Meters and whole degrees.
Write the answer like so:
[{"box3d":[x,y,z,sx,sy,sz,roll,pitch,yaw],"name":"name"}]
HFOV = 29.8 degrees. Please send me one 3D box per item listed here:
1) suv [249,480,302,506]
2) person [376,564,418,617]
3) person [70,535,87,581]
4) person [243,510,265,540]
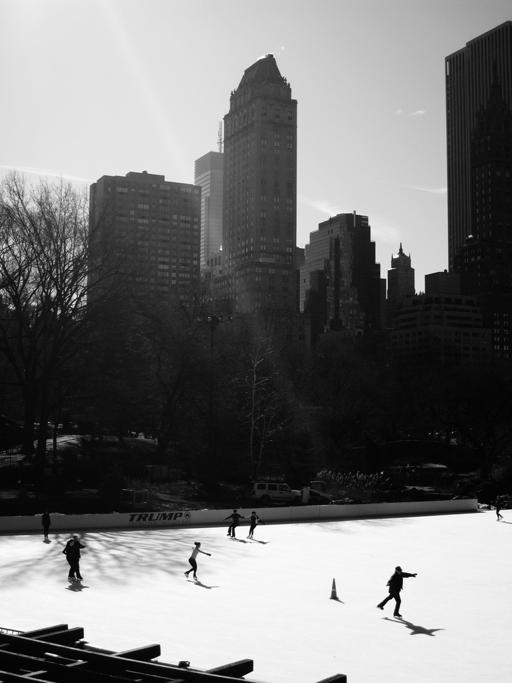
[{"box3d":[1.029,7.851,49.369,1.867,1.244,1.153,-3,-4,11],"name":"suv"},{"box3d":[2.864,5.137,20.079,0.585,1.036,1.922,0,-6,8],"name":"person"},{"box3d":[-4.265,5.180,23.158,0.258,1.071,1.798,1,-6,-11],"name":"person"},{"box3d":[-0.090,6.915,36.035,0.812,0.927,2.127,1,-34,1],"name":"person"}]
